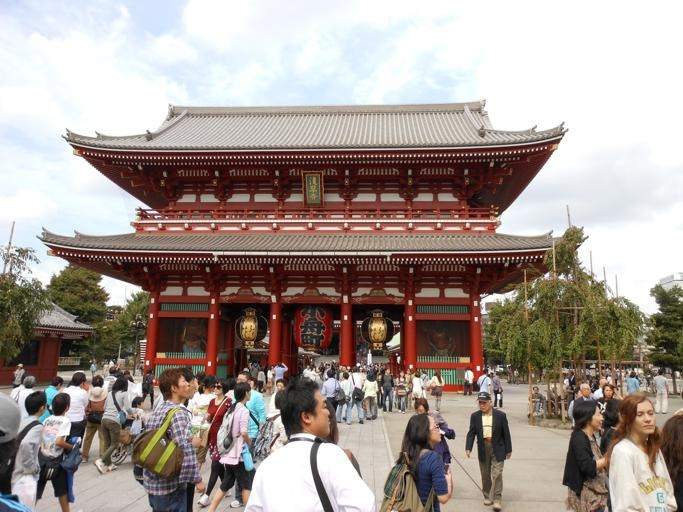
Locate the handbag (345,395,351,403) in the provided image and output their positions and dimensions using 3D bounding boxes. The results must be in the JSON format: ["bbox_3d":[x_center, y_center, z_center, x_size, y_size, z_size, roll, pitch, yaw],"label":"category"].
[{"bbox_3d":[0.257,4.742,16.071,0.170,0.198,0.223,6,-16,-5],"label":"handbag"}]

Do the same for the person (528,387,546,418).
[{"bbox_3d":[7.856,5.776,19.492,0.485,1.080,3.049,-6,-16,22],"label":"person"}]

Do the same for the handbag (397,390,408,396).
[{"bbox_3d":[2.416,5.400,19.241,0.357,0.231,0.403,0,-15,0],"label":"handbag"}]

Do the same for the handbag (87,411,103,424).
[{"bbox_3d":[-5.798,3.815,11.569,0.306,0.262,0.153,3,-21,-7],"label":"handbag"}]

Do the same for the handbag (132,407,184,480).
[{"bbox_3d":[-2.563,2.643,7.004,0.603,0.789,0.691,4,-2,-29],"label":"handbag"}]
